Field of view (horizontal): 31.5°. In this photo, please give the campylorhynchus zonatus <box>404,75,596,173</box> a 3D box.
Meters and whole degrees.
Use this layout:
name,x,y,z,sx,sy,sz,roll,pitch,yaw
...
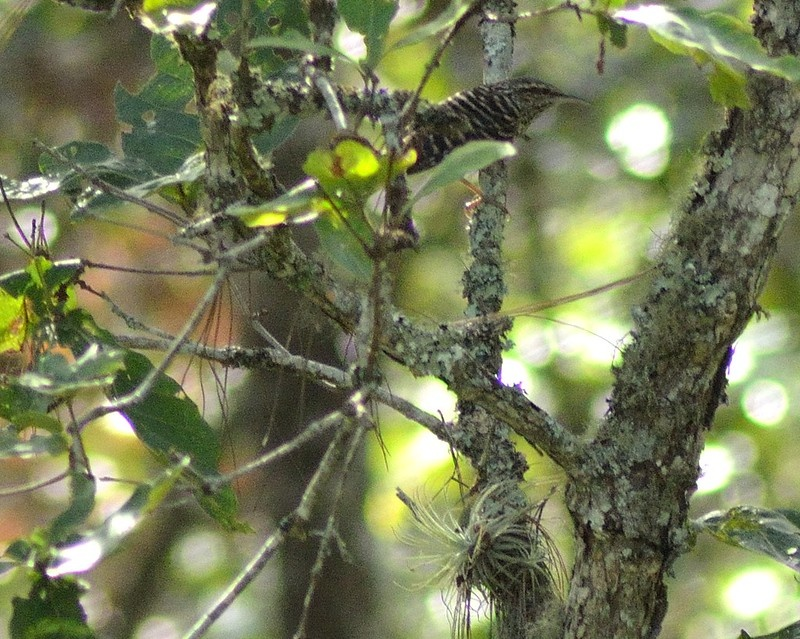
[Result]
name,x,y,z,sx,sy,sz,roll,pitch,yaw
campylorhynchus zonatus,0.192,-0.476,3.315,0.513,0.179,0.273,2,-97,-23
